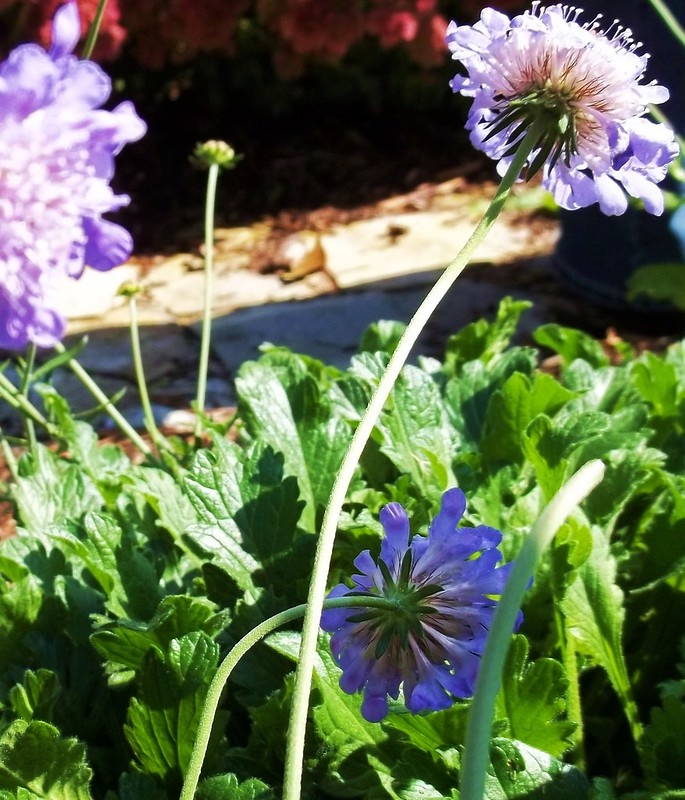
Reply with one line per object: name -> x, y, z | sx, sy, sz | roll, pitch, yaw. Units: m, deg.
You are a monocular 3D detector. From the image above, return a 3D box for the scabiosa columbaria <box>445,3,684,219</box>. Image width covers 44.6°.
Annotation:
scabiosa columbaria -> 0.155, -0.184, 0.645 | 0.191, 0.105, 0.163 | 1, 68, -30

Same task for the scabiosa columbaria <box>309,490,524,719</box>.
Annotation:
scabiosa columbaria -> 0.036, 0.106, 0.438 | 0.088, 0.112, 0.068 | 10, 28, 12
